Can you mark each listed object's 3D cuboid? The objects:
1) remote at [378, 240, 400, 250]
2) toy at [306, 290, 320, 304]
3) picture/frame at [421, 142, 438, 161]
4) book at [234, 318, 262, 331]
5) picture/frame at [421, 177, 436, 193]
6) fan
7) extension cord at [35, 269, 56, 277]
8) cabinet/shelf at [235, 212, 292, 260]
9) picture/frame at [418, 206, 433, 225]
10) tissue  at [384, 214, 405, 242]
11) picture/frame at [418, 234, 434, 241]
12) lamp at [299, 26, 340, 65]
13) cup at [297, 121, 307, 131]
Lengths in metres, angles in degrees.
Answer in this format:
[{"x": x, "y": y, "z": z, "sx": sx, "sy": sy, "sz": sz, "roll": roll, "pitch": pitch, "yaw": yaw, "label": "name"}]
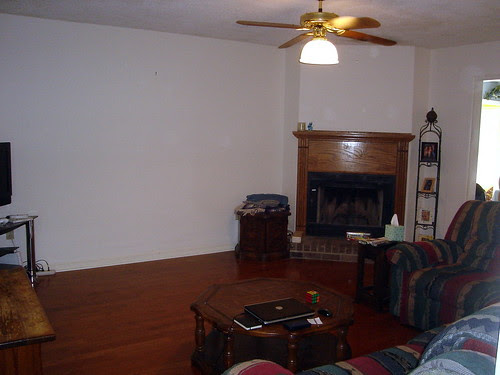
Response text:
[{"x": 1.336, "y": 0.560, "z": 3.811, "sx": 0.112, "sy": 0.026, "sz": 0.116, "roll": -10, "pitch": 6, "yaw": -29, "label": "remote"}, {"x": 0.463, "y": 0.804, "z": 2.932, "sx": 0.085, "sy": 0.083, "sz": 0.083, "roll": -5, "pitch": 10, "yaw": -22, "label": "toy"}, {"x": 2.360, "y": -0.463, "z": 5.186, "sx": 0.246, "sy": 0.305, "sz": 0.034, "roll": 2, "pitch": 3, "yaw": 11, "label": "picture/frame"}, {"x": -0.018, "y": 0.884, "z": 2.578, "sx": 0.089, "sy": 0.018, "sz": 0.092, "roll": -2, "pitch": 6, "yaw": -33, "label": "book"}, {"x": 2.381, "y": -0.033, "z": 5.271, "sx": 0.166, "sy": 0.177, "sz": 0.267, "roll": 6, "pitch": 12, "yaw": 24, "label": "picture/frame"}, {"x": 0.624, "y": -1.310, "z": 3.247, "sx": 0.799, "sy": 0.278, "sz": 0.697, "roll": -4, "pitch": 16, "yaw": -19, "label": "fan"}, {"x": -2.298, "y": 0.963, "z": 4.415, "sx": 0.144, "sy": 0.032, "sz": 0.132, "roll": 1, "pitch": 2, "yaw": -33, "label": "extension cord"}, {"x": 0.213, "y": 0.493, "z": 5.340, "sx": 0.842, "sy": 0.769, "sz": 0.575, "roll": -2, "pitch": 6, "yaw": -25, "label": "cabinet/shelf"}, {"x": 2.301, "y": 0.381, "z": 5.178, "sx": 0.228, "sy": 0.252, "sz": 0.033, "roll": 0, "pitch": -1, "yaw": 21, "label": "picture/frame"}, {"x": 1.464, "y": 0.412, "z": 3.981, "sx": 0.226, "sy": 0.240, "sz": 0.228, "roll": 0, "pitch": -1, "yaw": 19, "label": "tissue "}, {"x": 2.226, "y": 0.633, "z": 4.986, "sx": 0.217, "sy": 0.059, "sz": 0.213, "roll": -2, "pitch": 3, "yaw": -5, "label": "picture/frame"}, {"x": 0.572, "y": -1.184, "z": 3.322, "sx": 0.293, "sy": 0.286, "sz": 0.285, "roll": 0, "pitch": 15, "yaw": 1, "label": "lamp"}, {"x": 0.701, "y": -0.816, "z": 5.308, "sx": 0.115, "sy": 0.115, "sz": 0.106, "roll": 1, "pitch": 11, "yaw": 0, "label": "cup"}]
